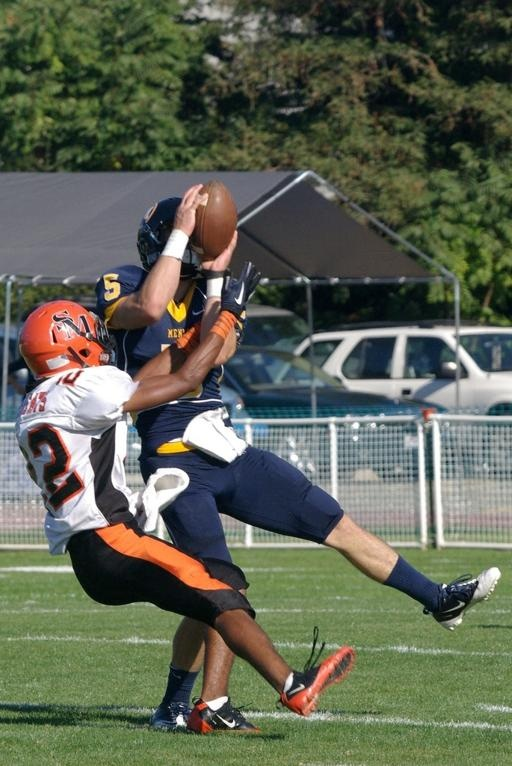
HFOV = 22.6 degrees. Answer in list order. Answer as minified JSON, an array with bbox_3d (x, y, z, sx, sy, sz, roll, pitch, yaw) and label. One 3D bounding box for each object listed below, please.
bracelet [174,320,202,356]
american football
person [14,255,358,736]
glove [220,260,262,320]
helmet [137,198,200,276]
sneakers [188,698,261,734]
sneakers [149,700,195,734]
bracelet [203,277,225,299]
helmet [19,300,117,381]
[{"bbox_3d":[-0.255,-0.163,4.628,0.075,0.104,0.040,13,0,4],"label":"bracelet"},{"bbox_3d":[-0.146,-0.604,4.797,0.196,0.270,0.179,1,-4,38],"label":"american football"},{"bbox_3d":[-0.318,0.371,4.299,1.050,1.291,0.658,3,5,5],"label":"person"},{"bbox_3d":[-0.066,-0.333,4.607,0.128,0.229,0.080,33,-37,-3],"label":"glove"},{"bbox_3d":[-0.322,-0.556,4.866,0.266,0.269,0.303,3,-4,-32],"label":"helmet"},{"bbox_3d":[-0.125,1.169,4.514,0.296,0.118,0.100,2,2,-20],"label":"sneakers"},{"bbox_3d":[-0.310,1.220,4.653,0.070,0.076,0.192,8,5,13],"label":"sneakers"},{"bbox_3d":[-0.154,-0.354,4.749,0.081,0.084,0.080,4,5,37],"label":"bracelet"},{"bbox_3d":[-0.671,-0.156,4.416,0.271,0.260,0.359,-3,10,36],"label":"helmet"}]
